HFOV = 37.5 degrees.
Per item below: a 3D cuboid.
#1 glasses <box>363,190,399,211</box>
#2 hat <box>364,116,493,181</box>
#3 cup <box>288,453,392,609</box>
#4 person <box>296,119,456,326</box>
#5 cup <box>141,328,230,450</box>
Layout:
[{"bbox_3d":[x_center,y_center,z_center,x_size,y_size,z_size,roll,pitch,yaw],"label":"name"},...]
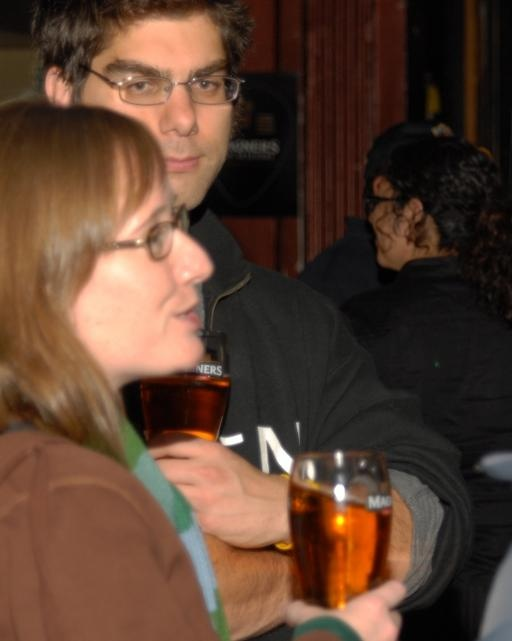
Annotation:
[{"bbox_3d":[0.494,-0.491,3.064,0.096,0.053,0.069,3,-14,13],"label":"glasses"},{"bbox_3d":[0.680,-0.801,3.403,0.468,0.184,0.357,-7,11,-29],"label":"hat"},{"bbox_3d":[0.092,0.233,0.845,0.110,0.180,0.084,2,8,7],"label":"cup"},{"bbox_3d":[0.559,-0.309,4.047,0.699,0.966,1.259,-21,-17,20],"label":"person"},{"bbox_3d":[-0.091,0.110,1.174,0.159,0.184,0.150,0,0,0],"label":"cup"}]
